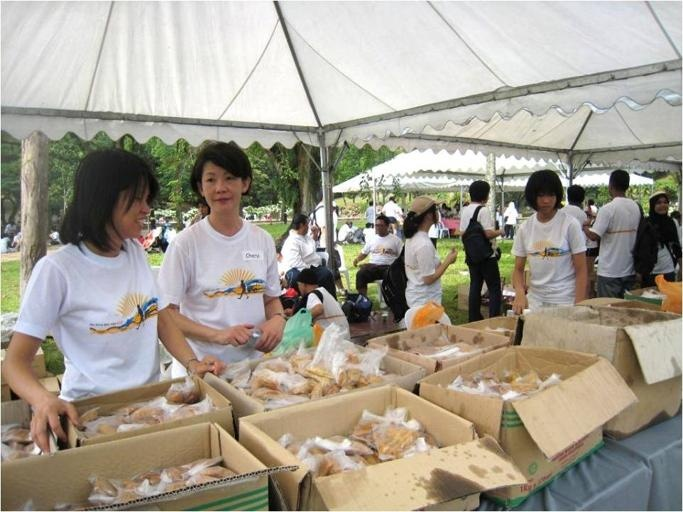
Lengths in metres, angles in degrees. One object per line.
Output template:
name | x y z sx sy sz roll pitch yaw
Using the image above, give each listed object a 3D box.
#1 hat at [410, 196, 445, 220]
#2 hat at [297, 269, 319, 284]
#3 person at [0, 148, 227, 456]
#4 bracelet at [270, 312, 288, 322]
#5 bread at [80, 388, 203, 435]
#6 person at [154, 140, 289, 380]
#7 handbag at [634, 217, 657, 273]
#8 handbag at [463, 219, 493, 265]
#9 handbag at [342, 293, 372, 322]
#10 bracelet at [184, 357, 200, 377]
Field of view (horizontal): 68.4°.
hat | 0.836 -0.486 4.936 0.241 0.130 0.169 -35 20 -16
hat | -0.368 0.240 5.441 0.146 0.198 0.200 -1 -21 -37
person | -1.145 0.141 2.235 0.308 1.208 0.631 4 8 36
bracelet | -0.366 0.364 2.976 0.072 0.052 0.076 25 -24 -14
bread | -0.851 0.683 2.231 0.532 0.060 0.286 -4 7 -21
person | -0.656 0.194 2.941 0.720 1.692 0.637 -5 9 -26
handbag | 3.571 -0.086 5.877 0.345 0.542 0.202 -1 6 11
handbag | 1.697 -0.158 6.262 0.388 0.582 0.322 2 7 24
handbag | 0.205 0.766 7.417 0.309 0.465 0.430 14 -7 35
bracelet | -0.754 0.561 2.514 0.055 0.020 0.081 15 51 1
